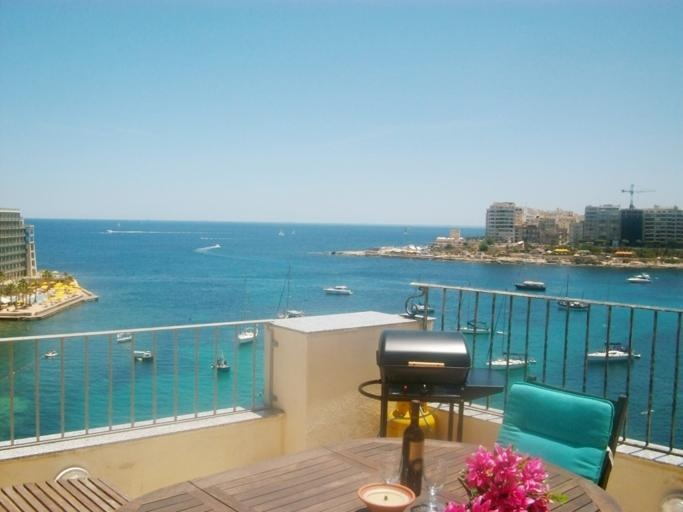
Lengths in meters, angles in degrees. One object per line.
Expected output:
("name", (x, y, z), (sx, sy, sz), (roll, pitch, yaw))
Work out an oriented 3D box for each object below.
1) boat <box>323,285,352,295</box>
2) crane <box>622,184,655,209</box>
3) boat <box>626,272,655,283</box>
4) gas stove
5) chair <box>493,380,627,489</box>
("boat", (-0.404, 3.158, 55.146), (2.119, 0.751, 1.004), (0, 7, 17))
("crane", (33.918, -7.173, 68.667), (3.040, 2.465, 4.190), (1, 5, 18))
("boat", (29.047, 2.092, 58.333), (2.452, 1.001, 0.909), (-2, 12, 0))
("gas stove", (0.458, 0.609, 3.531), (0.493, 0.362, 0.468), (1, 4, 1))
("chair", (1.122, 0.863, 3.186), (0.653, 0.562, 0.641), (8, 5, 41))
